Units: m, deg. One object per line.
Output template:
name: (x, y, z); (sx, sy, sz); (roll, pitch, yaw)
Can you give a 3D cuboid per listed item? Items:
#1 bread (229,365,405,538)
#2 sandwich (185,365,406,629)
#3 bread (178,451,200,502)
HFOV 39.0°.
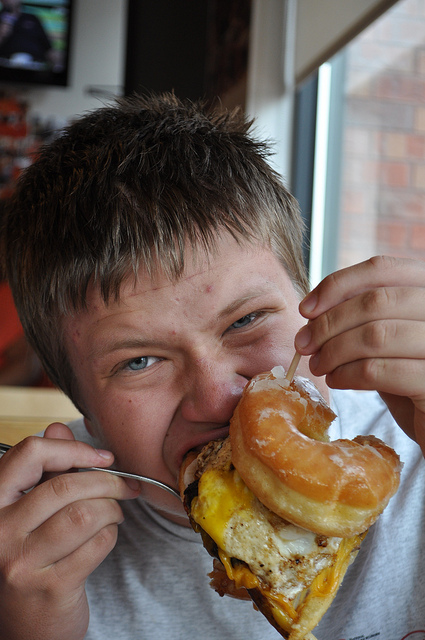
bread: (0.137, 0.169, 0.808); (0.221, 0.160, 0.200); (6, 14, 23)
sandwich: (0.097, 0.198, 0.858); (0.150, 0.318, 0.410); (-42, -6, 24)
bread: (-0.047, 0.255, 0.999); (0.024, 0.069, 0.055); (5, -11, -6)
